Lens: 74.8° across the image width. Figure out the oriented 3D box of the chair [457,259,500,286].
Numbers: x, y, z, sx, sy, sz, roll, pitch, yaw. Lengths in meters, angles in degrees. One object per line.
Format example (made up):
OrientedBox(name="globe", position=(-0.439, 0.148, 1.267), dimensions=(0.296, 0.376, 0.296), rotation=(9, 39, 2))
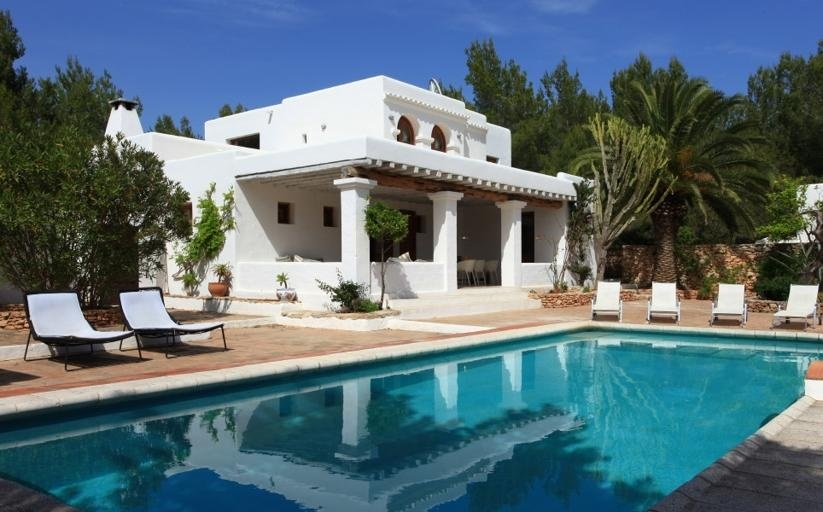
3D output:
OrientedBox(name="chair", position=(2.906, 0.714, 23.012), dimensions=(1.360, 0.878, 1.487), rotation=(3, 3, 42))
